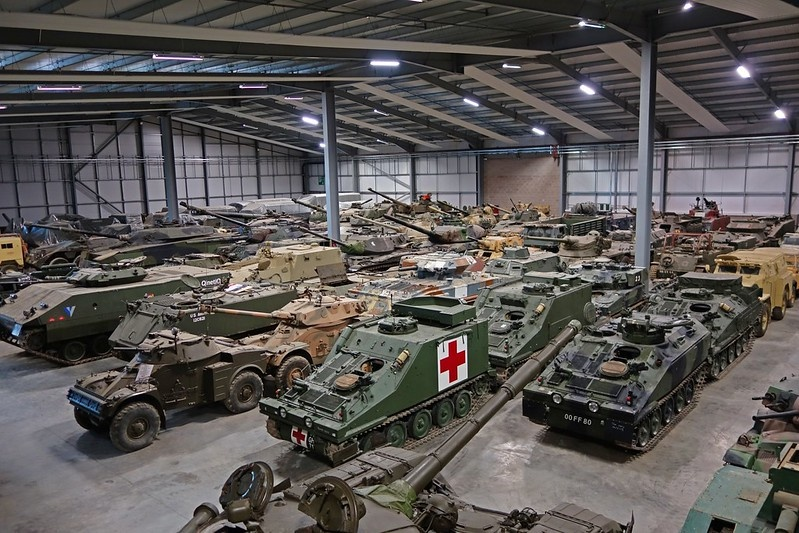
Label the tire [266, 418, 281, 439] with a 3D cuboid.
[{"bbox_3d":[-3.023,3.884,13.326,0.482,0.501,0.188,6,11,42],"label":"tire"}]

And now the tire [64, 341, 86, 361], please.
[{"bbox_3d":[-11.465,2.949,19.514,0.275,0.627,0.752,13,-6,38],"label":"tire"}]

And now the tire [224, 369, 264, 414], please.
[{"bbox_3d":[-4.497,3.552,15.704,0.518,1.133,1.387,-3,-9,31],"label":"tire"}]

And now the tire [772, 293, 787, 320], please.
[{"bbox_3d":[14.553,1.531,21.289,0.382,0.912,1.150,-6,-14,45],"label":"tire"}]

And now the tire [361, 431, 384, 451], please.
[{"bbox_3d":[-0.599,3.950,12.693,0.503,0.390,0.450,-2,14,21],"label":"tire"}]

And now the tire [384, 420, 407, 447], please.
[{"bbox_3d":[-0.065,3.975,13.165,0.131,0.638,0.753,7,11,43],"label":"tire"}]

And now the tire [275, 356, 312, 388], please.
[{"bbox_3d":[-3.195,3.195,16.400,0.433,1.039,1.296,2,0,36],"label":"tire"}]
